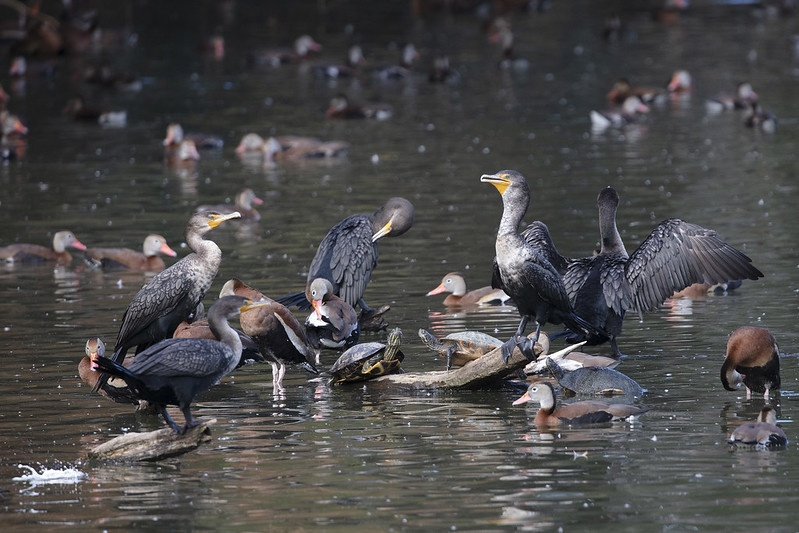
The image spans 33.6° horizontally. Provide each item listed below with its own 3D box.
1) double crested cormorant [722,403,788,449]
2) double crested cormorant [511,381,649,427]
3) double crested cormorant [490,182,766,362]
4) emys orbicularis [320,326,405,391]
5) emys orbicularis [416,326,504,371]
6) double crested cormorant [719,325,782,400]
[{"bbox_3d":[4.441,1.972,16.165,0.718,0.457,0.504,-1,1,-33],"label":"double crested cormorant"},{"bbox_3d":[2.356,1.759,16.936,1.339,0.547,0.284,-1,1,-7],"label":"double crested cormorant"},{"bbox_3d":[1.680,0.121,18.842,3.252,2.176,5.968,3,0,-13],"label":"double crested cormorant"},{"bbox_3d":[-0.398,1.316,18.513,0.992,0.457,1.375,3,-19,-40],"label":"emys orbicularis"},{"bbox_3d":[0.873,1.141,18.475,1.124,0.277,0.563,0,-5,-1],"label":"emys orbicularis"},{"bbox_3d":[4.626,1.221,17.273,0.659,0.742,1.305,-5,-10,38],"label":"double crested cormorant"}]
